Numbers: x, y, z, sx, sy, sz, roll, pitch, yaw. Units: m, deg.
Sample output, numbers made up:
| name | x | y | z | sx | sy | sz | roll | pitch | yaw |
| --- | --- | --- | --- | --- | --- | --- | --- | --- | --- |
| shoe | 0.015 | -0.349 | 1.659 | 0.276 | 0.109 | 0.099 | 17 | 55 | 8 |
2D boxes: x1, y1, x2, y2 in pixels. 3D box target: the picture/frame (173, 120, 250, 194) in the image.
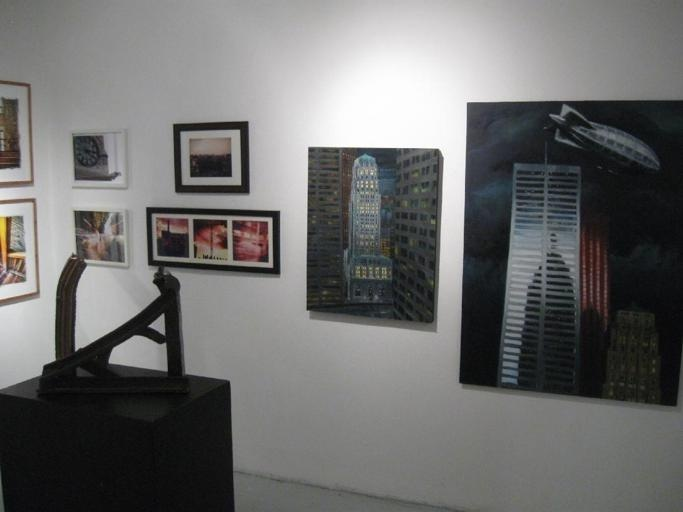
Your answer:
| name | x | y | z | sx | sy | sz | roll | pitch | yaw |
| --- | --- | --- | --- | --- | --- | --- | --- | --- | --- |
| picture/frame | -0.773 | -0.625 | 3.474 | 0.426 | 0.389 | 0.033 | 2 | 9 | 15 |

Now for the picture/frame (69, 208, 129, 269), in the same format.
| name | x | y | z | sx | sy | sz | roll | pitch | yaw |
| --- | --- | --- | --- | --- | --- | --- | --- | --- | --- |
| picture/frame | -1.602 | -0.135 | 3.780 | 0.429 | 0.379 | 0.022 | 3 | 9 | 16 |
